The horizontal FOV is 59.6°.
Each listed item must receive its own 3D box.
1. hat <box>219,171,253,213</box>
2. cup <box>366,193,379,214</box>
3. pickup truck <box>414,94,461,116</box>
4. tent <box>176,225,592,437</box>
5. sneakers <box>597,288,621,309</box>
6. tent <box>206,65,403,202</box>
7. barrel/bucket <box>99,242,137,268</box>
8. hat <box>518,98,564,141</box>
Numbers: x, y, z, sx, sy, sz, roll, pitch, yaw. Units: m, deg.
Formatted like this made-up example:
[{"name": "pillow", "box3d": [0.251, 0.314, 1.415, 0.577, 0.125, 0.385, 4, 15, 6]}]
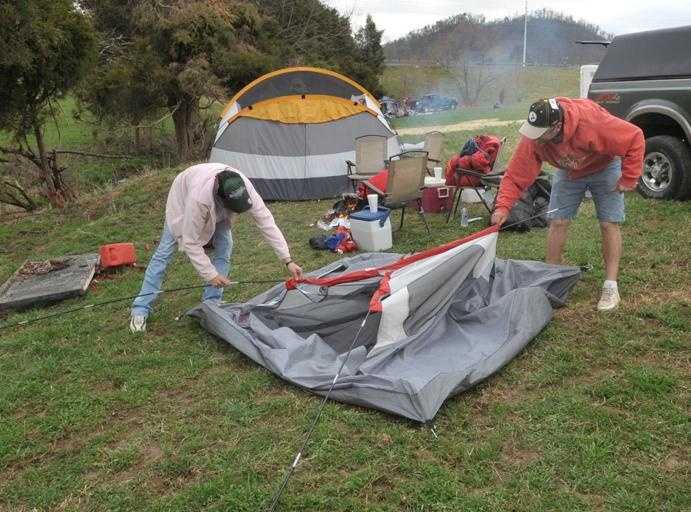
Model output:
[{"name": "hat", "box3d": [-0.981, -0.564, 5.291, 0.260, 0.380, 0.158, -30, -6, -13]}, {"name": "cup", "box3d": [0.356, -0.657, 7.643, 0.196, 0.254, 0.201, -1, 12, 0]}, {"name": "pickup truck", "box3d": [4.890, -8.367, 33.010, 2.420, 0.837, 2.066, -5, 18, 0]}, {"name": "tent", "box3d": [0.564, 0.628, 5.467, 2.229, 0.616, 2.151, -18, 24, -38]}, {"name": "sneakers", "box3d": [2.468, 0.400, 5.643, 0.106, 0.129, 0.322, 0, 13, 35]}, {"name": "tent", "box3d": [-0.851, -2.123, 11.424, 2.524, 1.792, 2.565, -1, 8, -2]}, {"name": "barrel/bucket", "box3d": [-2.715, -0.002, 7.191, 0.360, 0.280, 0.103, -2, -25, -28]}, {"name": "hat", "box3d": [1.769, -1.217, 5.428, 0.360, 0.353, 0.215, -1, 18, 13]}]
